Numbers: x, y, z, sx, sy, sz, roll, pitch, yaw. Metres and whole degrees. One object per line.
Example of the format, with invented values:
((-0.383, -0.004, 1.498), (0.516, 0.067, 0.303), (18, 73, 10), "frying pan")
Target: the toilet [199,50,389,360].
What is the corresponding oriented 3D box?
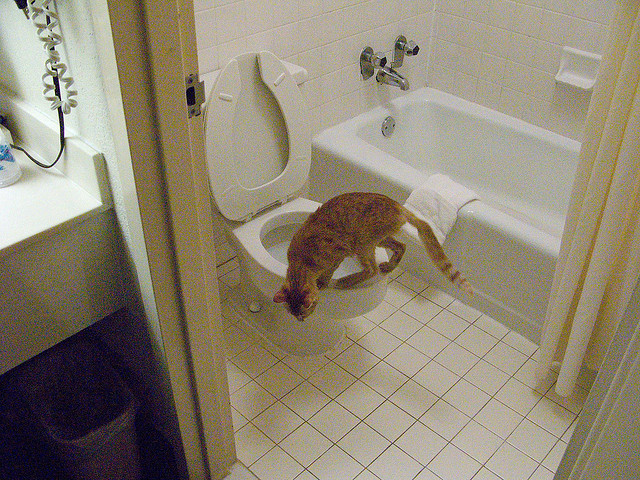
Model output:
((-0.100, -0.112, 1.976), (0.800, 1.039, 0.605), (25, 40, 32), "toilet")
